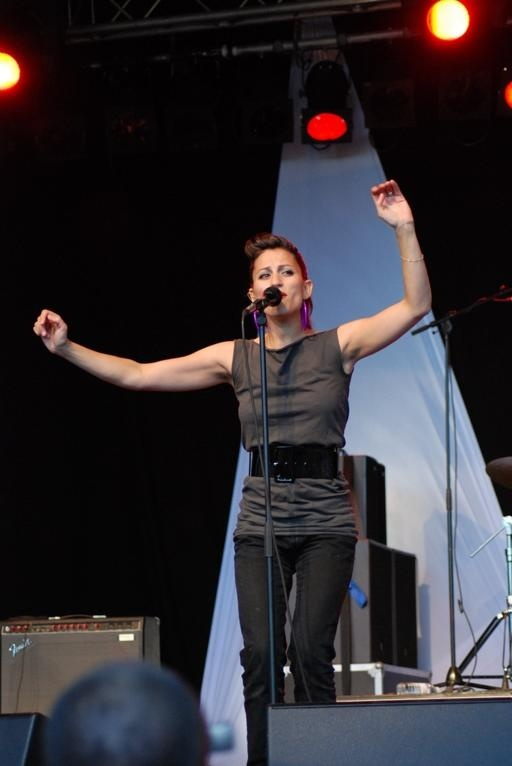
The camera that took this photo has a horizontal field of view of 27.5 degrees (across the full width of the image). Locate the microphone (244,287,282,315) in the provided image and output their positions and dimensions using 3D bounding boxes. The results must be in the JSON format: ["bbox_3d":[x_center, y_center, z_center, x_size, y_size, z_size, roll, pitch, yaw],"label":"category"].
[{"bbox_3d":[0.019,-0.217,2.746,0.046,0.047,0.123,15,22,24],"label":"microphone"}]
